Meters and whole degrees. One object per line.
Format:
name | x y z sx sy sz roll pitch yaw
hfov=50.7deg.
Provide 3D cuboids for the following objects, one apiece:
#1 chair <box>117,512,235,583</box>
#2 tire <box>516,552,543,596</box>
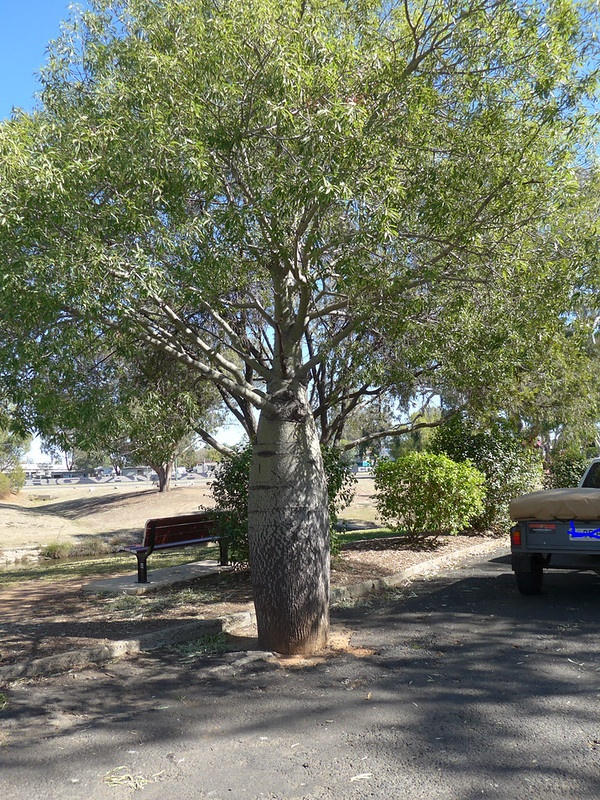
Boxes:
chair | -1.693 2.158 9.530 1.007 0.968 1.956 -1 -8 25
tire | 2.700 2.052 7.482 0.226 0.509 0.590 -6 -2 30
